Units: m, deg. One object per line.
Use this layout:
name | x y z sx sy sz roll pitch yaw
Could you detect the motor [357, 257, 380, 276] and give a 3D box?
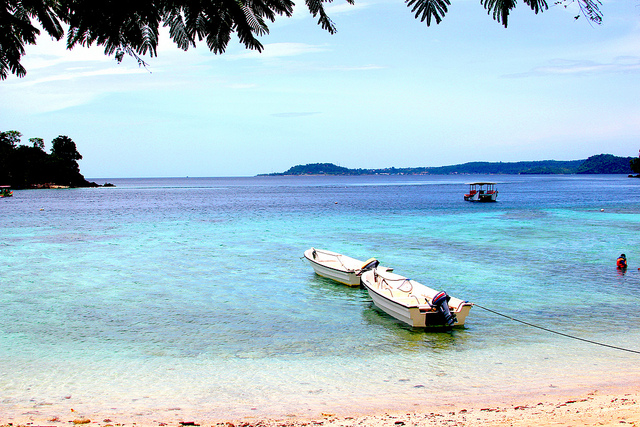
motor | 3.198 3.528 44.105 1.390 0.471 0.955 -35 4 26
